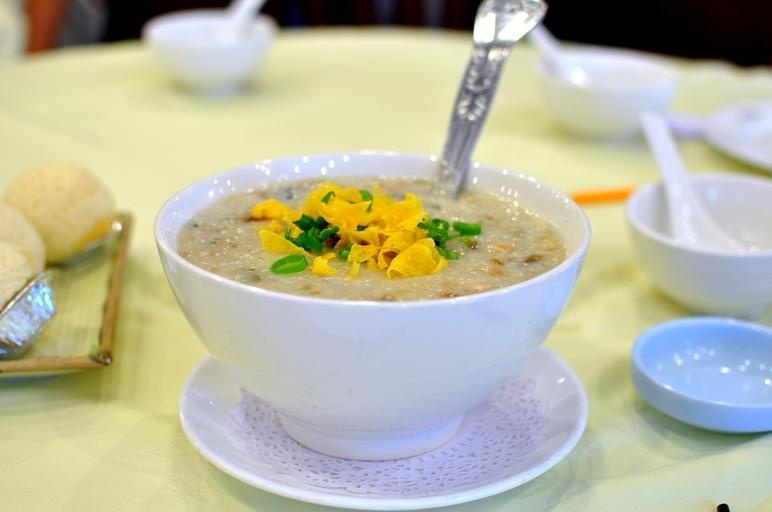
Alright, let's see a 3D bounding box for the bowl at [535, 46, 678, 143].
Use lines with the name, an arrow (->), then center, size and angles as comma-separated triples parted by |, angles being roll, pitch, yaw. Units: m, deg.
bowl -> 0.567, -0.435, 1.618 | 0.317, 0.125, 0.285 | -3, 28, -10
